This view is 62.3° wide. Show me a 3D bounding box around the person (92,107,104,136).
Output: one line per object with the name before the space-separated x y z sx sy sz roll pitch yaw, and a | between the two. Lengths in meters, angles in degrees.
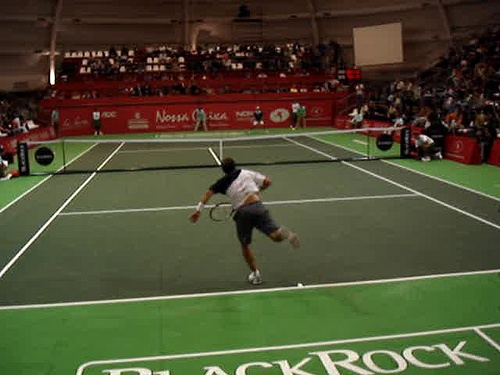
person | -11.904 -5.171 32.389 0.645 2.038 0.556 -6 14 -22

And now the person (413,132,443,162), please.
person | 7.984 -1.856 18.704 1.420 1.207 0.624 -6 14 -19
